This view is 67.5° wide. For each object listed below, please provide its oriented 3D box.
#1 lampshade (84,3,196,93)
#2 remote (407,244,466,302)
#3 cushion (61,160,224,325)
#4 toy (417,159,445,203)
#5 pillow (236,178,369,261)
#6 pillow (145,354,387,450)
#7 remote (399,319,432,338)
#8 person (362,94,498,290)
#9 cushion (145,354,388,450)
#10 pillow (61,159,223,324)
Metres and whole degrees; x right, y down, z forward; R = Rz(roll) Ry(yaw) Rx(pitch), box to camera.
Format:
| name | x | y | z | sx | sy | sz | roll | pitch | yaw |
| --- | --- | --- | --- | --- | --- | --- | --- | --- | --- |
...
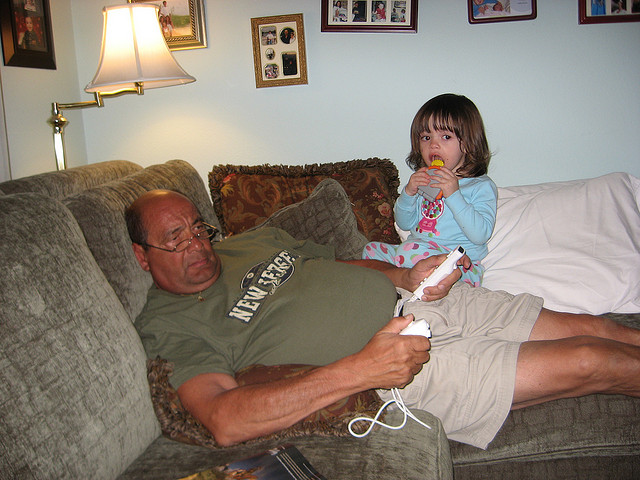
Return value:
| name | x | y | z | sx | sy | sz | roll | pitch | yaw |
| --- | --- | --- | --- | --- | --- | --- | --- | --- | --- |
| lampshade | -0.760 | -0.766 | 2.126 | 0.403 | 0.290 | 0.392 | -23 | 18 | -40 |
| remote | 0.411 | 0.120 | 1.695 | 0.240 | 0.065 | 0.126 | -45 | -7 | 22 |
| cushion | -0.716 | 0.106 | 1.833 | 0.246 | 0.584 | 0.562 | -16 | 13 | 44 |
| toy | 0.479 | -0.249 | 2.061 | 0.104 | 0.173 | 0.165 | 2 | 14 | 14 |
| pillow | -0.014 | -0.092 | 2.211 | 0.503 | 0.346 | 0.201 | -3 | 14 | -5 |
| pillow | -0.195 | 0.499 | 1.466 | 0.481 | 0.157 | 0.369 | 2 | 25 | 1 |
| remote | 0.291 | 0.273 | 1.462 | 0.084 | 0.033 | 0.052 | -15 | 46 | 17 |
| person | 0.509 | -0.201 | 2.138 | 0.459 | 0.875 | 0.521 | 6 | -1 | -37 |
| cushion | -0.194 | 0.499 | 1.469 | 0.494 | 0.167 | 0.363 | 2 | 25 | -1 |
| pillow | -0.728 | 0.110 | 1.835 | 0.249 | 0.593 | 0.576 | -16 | 13 | 43 |
